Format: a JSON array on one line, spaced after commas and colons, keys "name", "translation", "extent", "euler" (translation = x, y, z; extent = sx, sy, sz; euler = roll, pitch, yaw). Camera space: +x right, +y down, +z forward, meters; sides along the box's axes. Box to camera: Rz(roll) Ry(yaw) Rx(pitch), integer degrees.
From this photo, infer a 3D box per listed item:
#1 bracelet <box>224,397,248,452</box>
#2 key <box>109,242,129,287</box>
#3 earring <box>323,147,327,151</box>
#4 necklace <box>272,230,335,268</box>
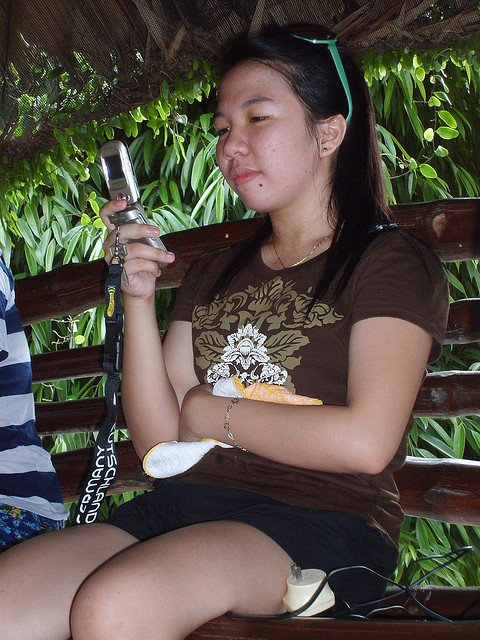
[{"name": "bracelet", "translation": [-0.018, 0.157, 0.849], "extent": [0.012, 0.043, 0.053], "euler": [-21, 65, -32]}, {"name": "key", "translation": [-0.239, -0.107, 1.051], "extent": [0.035, 0.084, 0.015], "euler": [-9, 0, 1]}, {"name": "earring", "translation": [0.167, -0.331, 1.042], "extent": [0.007, 0.006, 0.001], "euler": [-10, 20, -34]}, {"name": "necklace", "translation": [0.098, -0.152, 1.095], "extent": [0.111, 0.072, 0.158], "euler": [-12, 20, -38]}]
